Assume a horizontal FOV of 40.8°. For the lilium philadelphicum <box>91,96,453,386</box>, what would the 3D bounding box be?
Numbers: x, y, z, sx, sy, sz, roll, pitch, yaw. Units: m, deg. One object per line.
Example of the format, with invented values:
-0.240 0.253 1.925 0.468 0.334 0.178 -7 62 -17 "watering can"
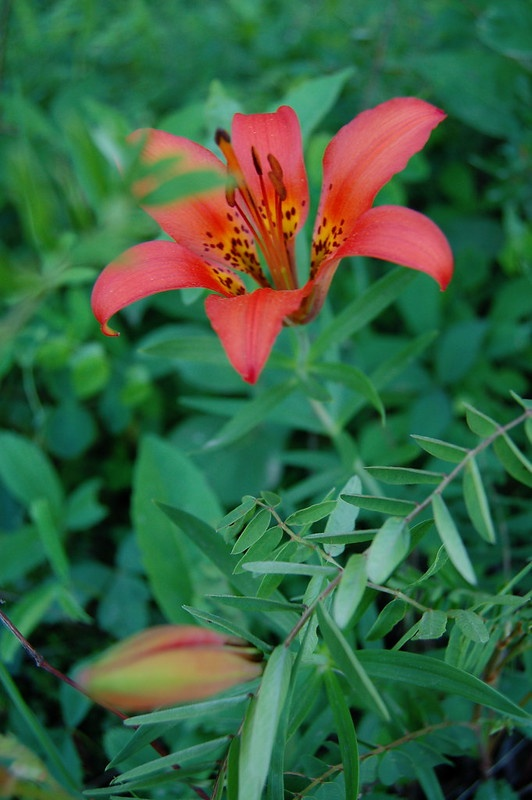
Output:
0.007 -0.083 0.523 0.215 0.129 0.211 -40 58 -13 "lilium philadelphicum"
